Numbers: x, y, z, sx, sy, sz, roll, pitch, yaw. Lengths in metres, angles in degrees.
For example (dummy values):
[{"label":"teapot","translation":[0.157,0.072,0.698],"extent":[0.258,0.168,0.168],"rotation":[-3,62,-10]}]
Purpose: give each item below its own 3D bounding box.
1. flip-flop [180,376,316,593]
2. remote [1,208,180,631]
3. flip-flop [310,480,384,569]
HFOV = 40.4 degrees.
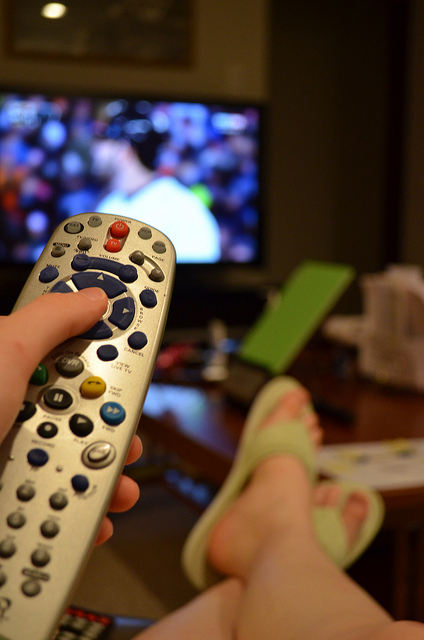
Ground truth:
[{"label":"flip-flop","translation":[0.057,0.170,0.654],"extent":[0.122,0.159,0.240],"rotation":[7,28,13]},{"label":"remote","translation":[-0.076,0.057,0.433],"extent":[0.092,0.032,0.281],"rotation":[14,59,11]},{"label":"flip-flop","translation":[0.125,0.173,0.527],"extent":[0.079,0.039,0.062],"rotation":[-53,24,-15]}]
